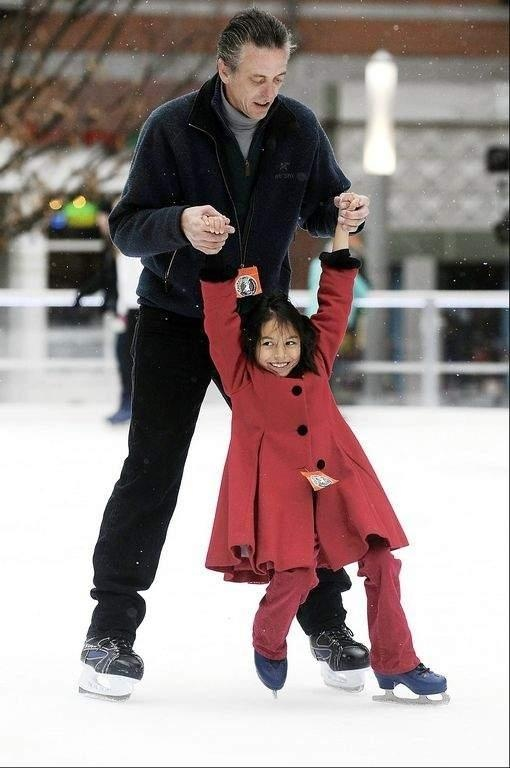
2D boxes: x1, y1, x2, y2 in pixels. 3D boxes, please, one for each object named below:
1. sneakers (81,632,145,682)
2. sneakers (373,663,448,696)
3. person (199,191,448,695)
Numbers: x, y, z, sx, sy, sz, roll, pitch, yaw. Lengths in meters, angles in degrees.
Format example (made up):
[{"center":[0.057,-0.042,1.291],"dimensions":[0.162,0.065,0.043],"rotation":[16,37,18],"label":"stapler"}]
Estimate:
[{"center":[-0.303,0.576,2.133],"dimensions":[0.132,0.065,0.116],"rotation":[4,7,-5],"label":"sneakers"},{"center":[0.319,0.600,2.086],"dimensions":[0.170,0.076,0.060],"rotation":[-1,1,3],"label":"sneakers"},{"center":[0.139,0.132,2.159],"dimensions":[0.569,1.049,0.366],"rotation":[5,7,-4],"label":"person"}]
